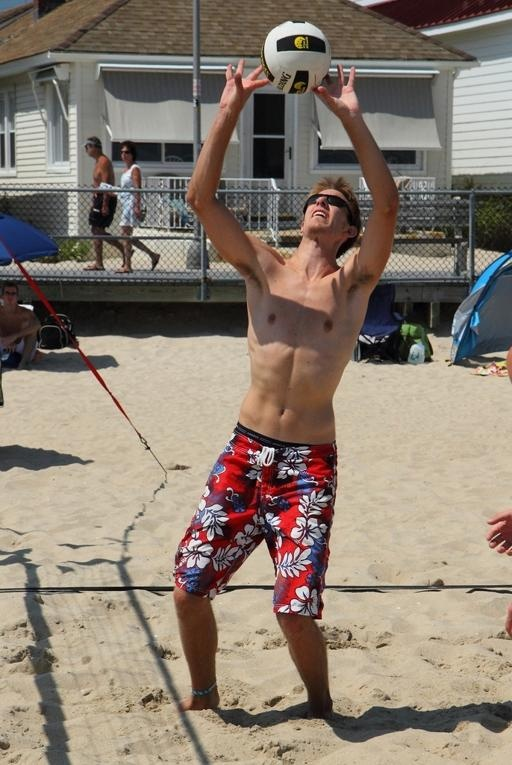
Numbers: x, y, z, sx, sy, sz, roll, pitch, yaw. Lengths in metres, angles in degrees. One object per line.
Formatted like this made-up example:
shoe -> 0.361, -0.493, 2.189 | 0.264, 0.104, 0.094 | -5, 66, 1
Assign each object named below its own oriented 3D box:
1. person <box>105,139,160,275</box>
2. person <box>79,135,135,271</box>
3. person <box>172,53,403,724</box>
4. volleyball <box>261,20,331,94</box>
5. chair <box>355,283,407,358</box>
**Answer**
person -> -1.542, -2.249, 12.298 | 0.599, 1.613, 0.509 | 4, 11, -7
person -> -1.926, -2.298, 12.367 | 0.654, 1.653, 0.615 | 1, 10, -11
person -> 0.119, 0.088, 3.136 | 0.760, 2.267, 0.618 | 2, -3, 27
volleyball -> 0.135, -1.150, 3.438 | 0.277, 0.279, 0.248 | -2, 23, -14
chair -> 1.450, -0.721, 11.501 | 0.591, 0.840, 0.634 | -3, 12, 10
